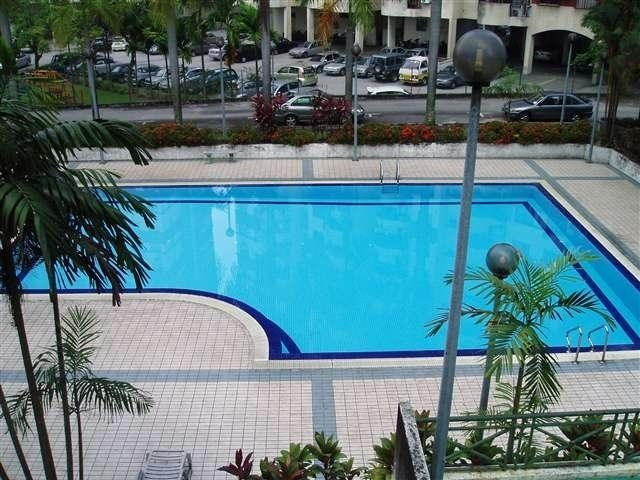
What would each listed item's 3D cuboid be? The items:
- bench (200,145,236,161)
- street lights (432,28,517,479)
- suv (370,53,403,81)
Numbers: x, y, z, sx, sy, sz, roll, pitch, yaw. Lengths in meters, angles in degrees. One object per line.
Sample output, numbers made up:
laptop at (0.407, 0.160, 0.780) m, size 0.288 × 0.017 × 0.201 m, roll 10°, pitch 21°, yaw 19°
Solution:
bench at (-3.846, -3.276, 20.114) m, size 1.295 × 0.580 × 0.459 m, roll -3°, pitch 12°, yaw -10°
street lights at (1.476, 0.417, 5.524) m, size 0.536 × 4.945 × 0.714 m, roll 1°, pitch 12°, yaw 11°
suv at (4.375, -11.266, 34.997) m, size 2.008 × 1.784 × 1.023 m, roll -1°, pitch 12°, yaw 2°
